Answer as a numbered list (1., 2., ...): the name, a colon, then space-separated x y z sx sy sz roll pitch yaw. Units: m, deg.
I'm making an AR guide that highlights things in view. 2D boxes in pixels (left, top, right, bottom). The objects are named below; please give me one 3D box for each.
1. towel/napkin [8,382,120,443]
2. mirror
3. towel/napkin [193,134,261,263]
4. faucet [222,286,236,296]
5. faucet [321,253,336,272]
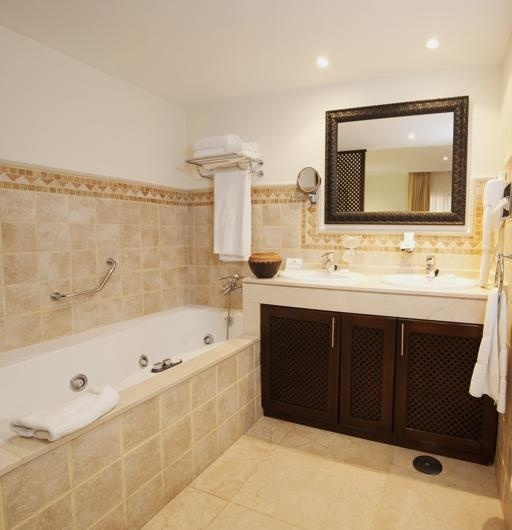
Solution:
1. towel/napkin: -0.656 0.534 1.606 0.192 0.093 0.270 3 1 30
2. mirror: 0.903 -0.658 2.768 0.842 0.785 0.061 2 2 22
3. towel/napkin: -0.200 -0.446 3.193 0.445 0.907 0.412 6 12 27
4. faucet: -0.202 0.181 3.136 0.045 0.054 0.132 2 -7 -36
5. faucet: 0.485 -0.021 2.956 0.098 0.140 0.204 2 10 8
